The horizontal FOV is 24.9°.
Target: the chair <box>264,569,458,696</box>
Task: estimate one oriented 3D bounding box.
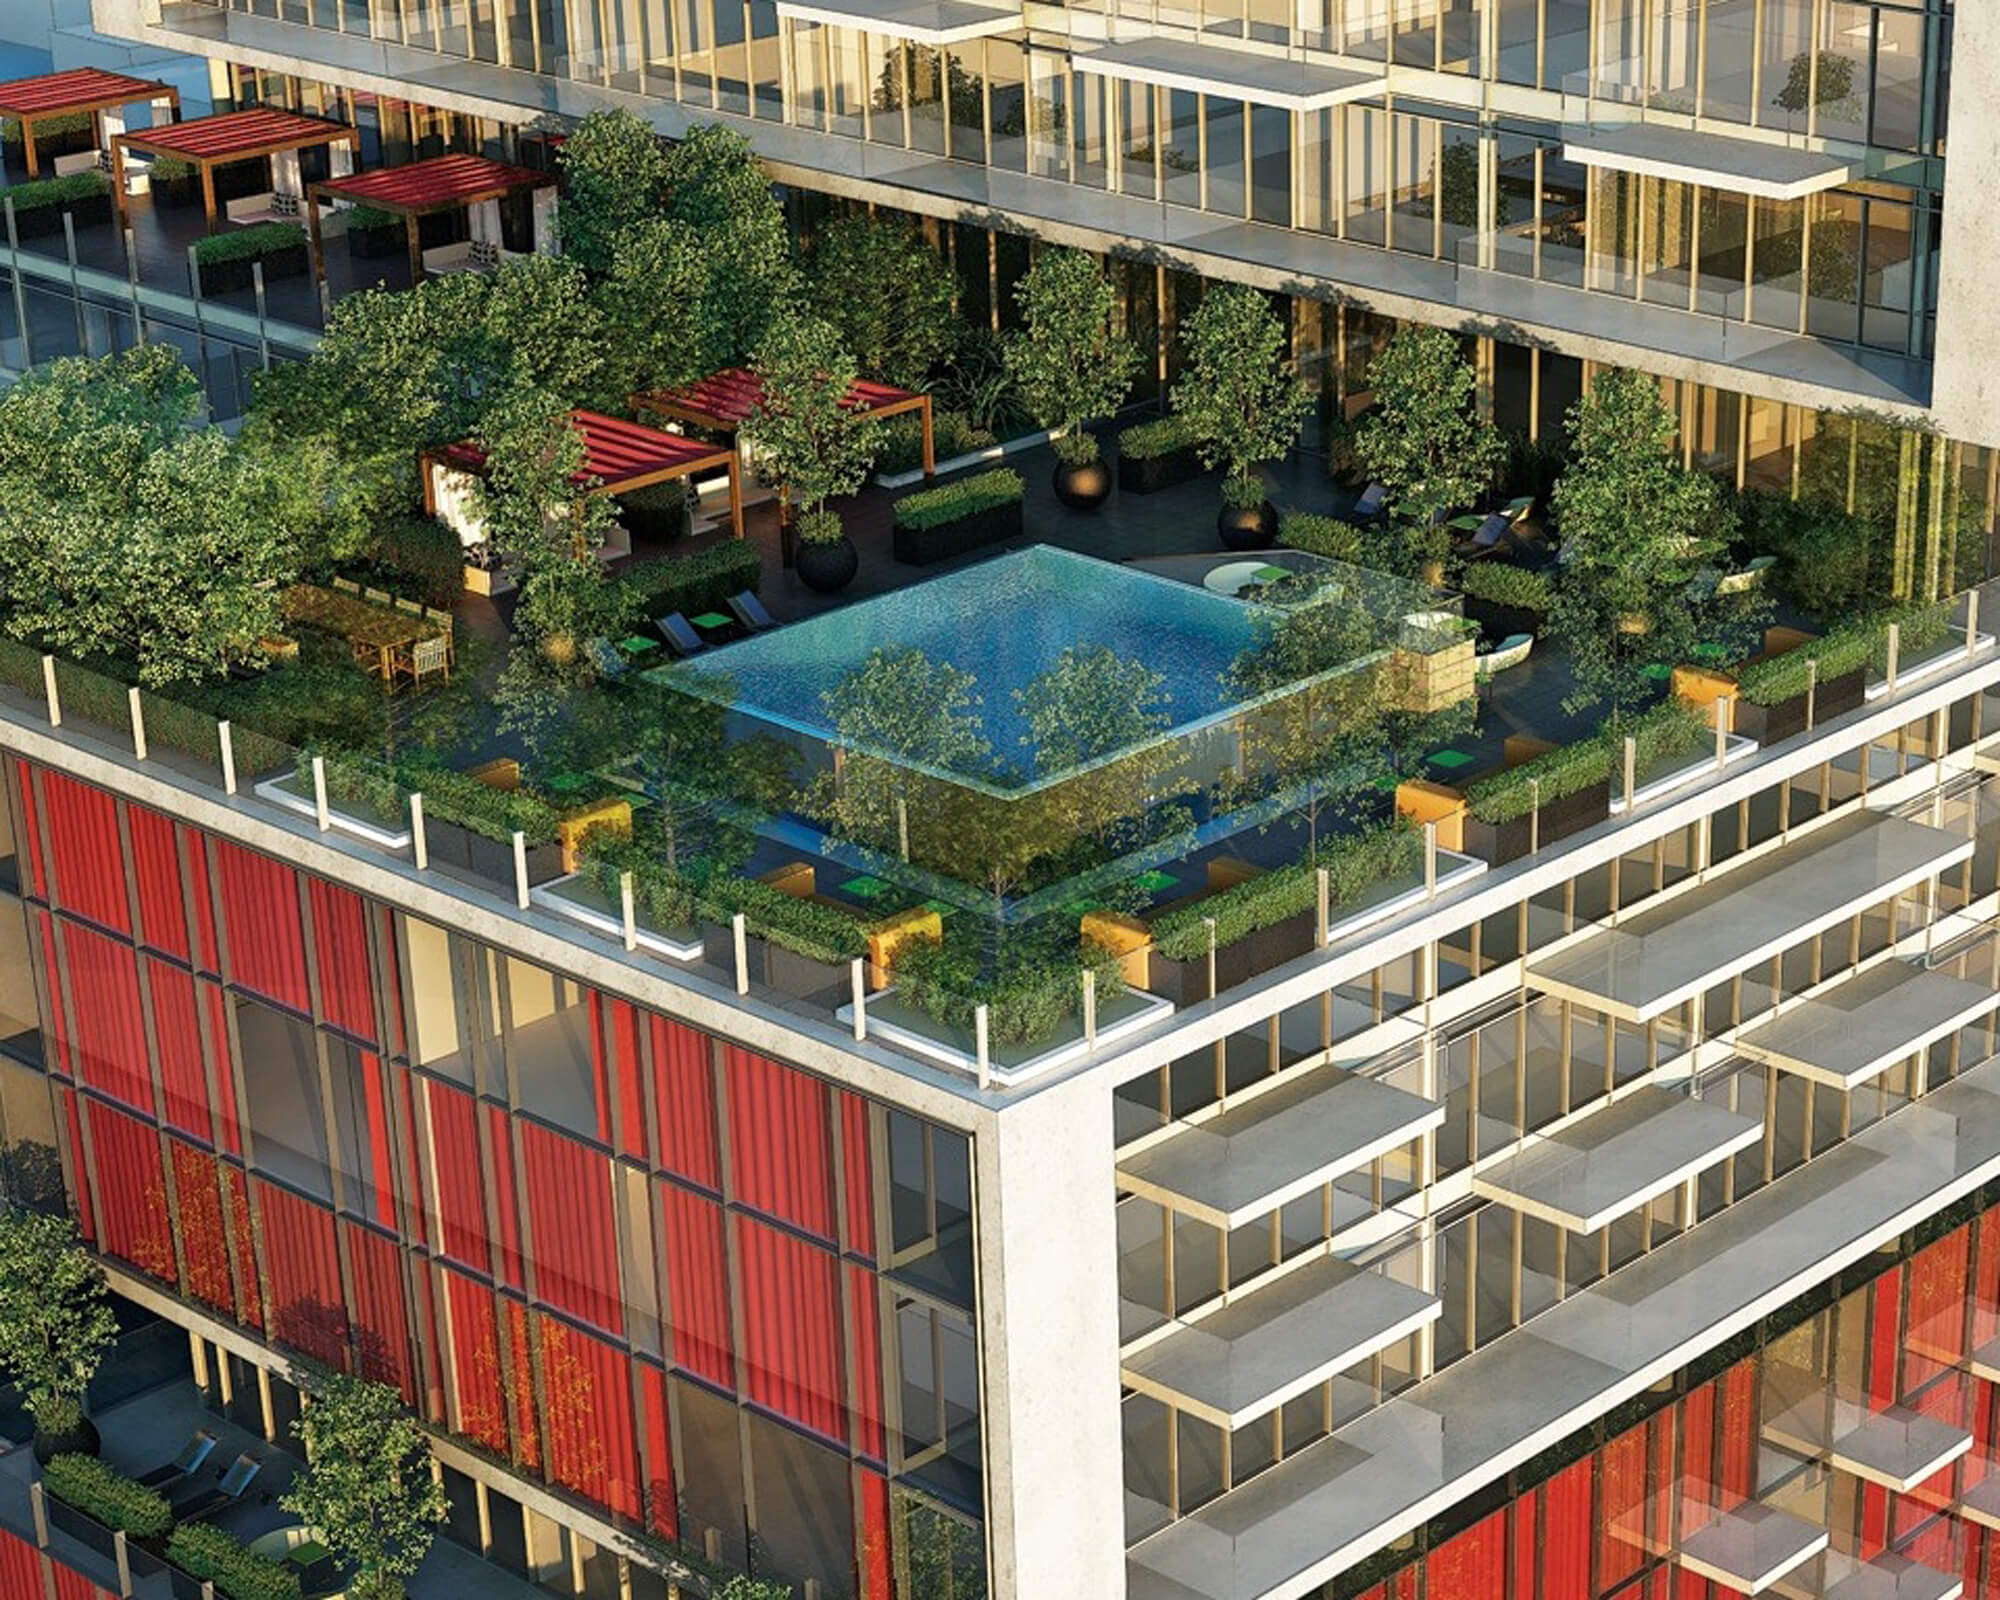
[{"bbox_3d":[-8.886,-2.428,64.373,2.434,1.021,1.733,8,26,15],"label":"chair"}]

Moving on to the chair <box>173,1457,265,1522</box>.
[{"bbox_3d":[-11.038,9.886,64.720,0.559,0.562,1.117,30,32,33],"label":"chair"}]

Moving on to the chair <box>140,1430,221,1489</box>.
[{"bbox_3d":[-11.734,9.545,65.179,0.501,0.456,0.958,26,30,30],"label":"chair"}]
